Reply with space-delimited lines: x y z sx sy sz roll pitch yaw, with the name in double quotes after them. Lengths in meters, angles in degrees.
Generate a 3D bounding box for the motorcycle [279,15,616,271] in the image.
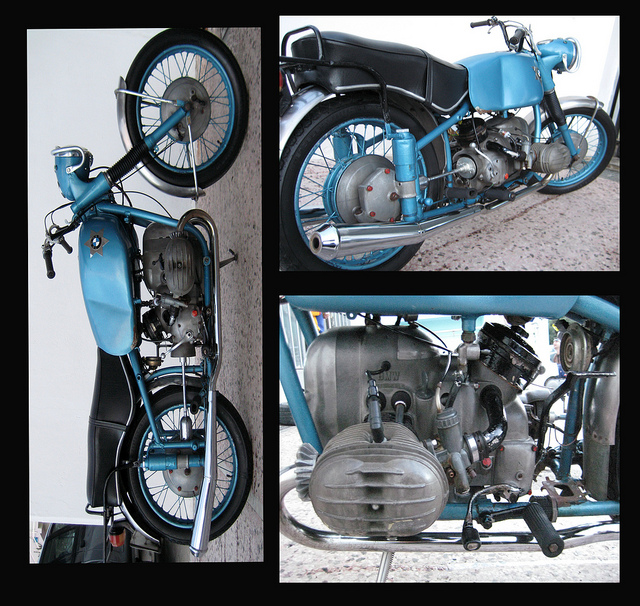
0.533 -0.619 2.320 1.598 0.953 0.501 -16 19 -31 "motorcycle"
